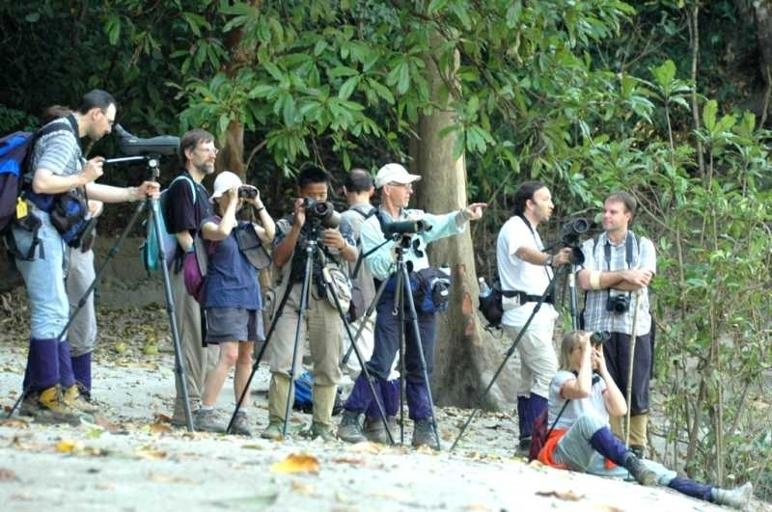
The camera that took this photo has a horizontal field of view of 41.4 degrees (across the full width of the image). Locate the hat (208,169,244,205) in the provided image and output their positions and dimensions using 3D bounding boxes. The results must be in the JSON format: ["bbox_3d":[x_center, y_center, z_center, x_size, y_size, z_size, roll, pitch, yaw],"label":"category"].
[{"bbox_3d":[-1.549,-0.677,9.872,0.257,0.289,0.479,4,-1,-13],"label":"hat"}]

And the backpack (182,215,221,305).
[{"bbox_3d":[-1.707,0.007,9.813,0.255,0.711,0.494,0,-5,31],"label":"backpack"}]

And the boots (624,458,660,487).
[{"bbox_3d":[2.292,1.932,9.254,0.169,0.156,0.314,-24,52,-25],"label":"boots"}]

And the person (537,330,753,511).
[{"bbox_3d":[2.213,1.478,9.553,1.525,1.511,0.624,4,0,22],"label":"person"}]

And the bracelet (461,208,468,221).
[{"bbox_3d":[0.753,-0.413,10.018,0.075,0.089,0.074,-24,-27,25],"label":"bracelet"}]

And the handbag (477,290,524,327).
[{"bbox_3d":[1.154,0.554,10.608,0.165,0.426,0.316,1,12,-25],"label":"handbag"}]

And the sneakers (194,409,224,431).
[{"bbox_3d":[-1.691,1.569,9.750,0.142,0.151,0.346,2,-4,-44],"label":"sneakers"}]

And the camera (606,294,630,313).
[{"bbox_3d":[2.291,0.467,10.180,0.216,0.209,0.169,1,-1,1],"label":"camera"}]

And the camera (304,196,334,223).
[{"bbox_3d":[-0.636,-0.409,9.563,0.266,0.194,0.255,49,-12,-17],"label":"camera"}]

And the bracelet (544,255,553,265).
[{"bbox_3d":[1.599,0.031,10.128,0.060,0.096,0.086,14,-32,12],"label":"bracelet"}]

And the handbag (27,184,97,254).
[{"bbox_3d":[-2.923,-0.334,9.234,0.533,0.555,0.413,-5,40,-23],"label":"handbag"}]

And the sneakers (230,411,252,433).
[{"bbox_3d":[-1.392,1.594,9.765,0.151,0.190,0.424,2,-13,-8],"label":"sneakers"}]

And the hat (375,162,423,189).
[{"bbox_3d":[0.093,-0.799,10.139,0.349,0.193,0.237,-1,5,6],"label":"hat"}]

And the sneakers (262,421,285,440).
[{"bbox_3d":[-1.077,1.644,9.671,0.127,0.169,0.245,0,-20,13],"label":"sneakers"}]

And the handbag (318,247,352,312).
[{"bbox_3d":[-0.484,0.259,9.844,0.193,0.529,0.411,-27,-1,2],"label":"handbag"}]

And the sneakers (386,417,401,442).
[{"bbox_3d":[0.091,1.833,10.875,0.060,0.264,0.186,-8,7,22],"label":"sneakers"}]

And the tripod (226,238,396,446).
[{"bbox_3d":[-0.919,0.987,10.158,1.760,2.688,1.798,2,-12,-8],"label":"tripod"}]

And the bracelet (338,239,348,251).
[{"bbox_3d":[-0.411,-0.110,9.734,0.059,0.084,0.027,-5,4,-40],"label":"bracelet"}]

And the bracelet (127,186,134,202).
[{"bbox_3d":[-2.329,-0.565,9.390,0.042,0.126,0.088,3,4,-13],"label":"bracelet"}]

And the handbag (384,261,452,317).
[{"bbox_3d":[0.316,0.275,10.082,0.516,0.258,0.547,2,10,21],"label":"handbag"}]

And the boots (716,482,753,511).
[{"bbox_3d":[3.186,2.211,9.409,0.249,0.198,0.263,2,3,20],"label":"boots"}]
